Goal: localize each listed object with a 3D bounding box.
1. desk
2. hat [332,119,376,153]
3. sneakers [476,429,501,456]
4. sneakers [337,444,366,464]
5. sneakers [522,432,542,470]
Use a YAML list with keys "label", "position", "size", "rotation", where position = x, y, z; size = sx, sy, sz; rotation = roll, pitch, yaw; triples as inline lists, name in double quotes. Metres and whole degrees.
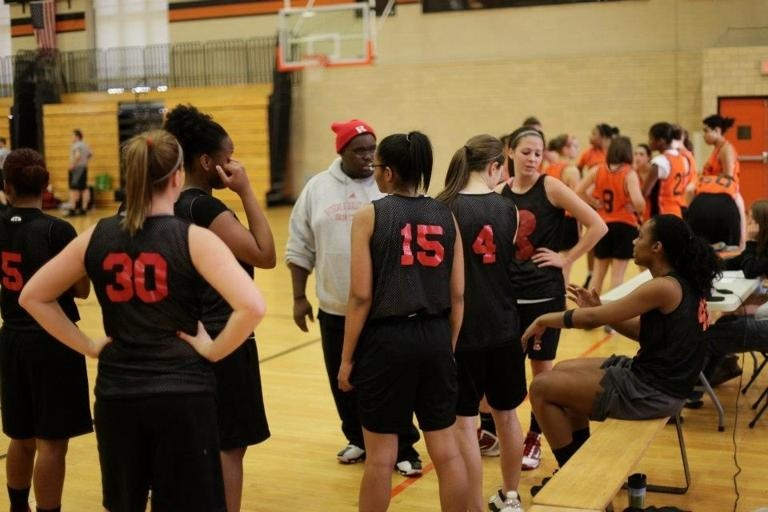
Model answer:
- label: "desk"
  position: [2.248, 0.279, 5.800]
  size: [1.083, 0.927, 1.990]
  rotation: [0, 11, 22]
- label: "hat"
  position: [-0.178, -0.748, 4.798]
  size: [0.237, 0.208, 0.231]
  rotation: [0, -5, 40]
- label: "sneakers"
  position: [0.732, 1.315, 5.399]
  size: [0.232, 0.149, 0.133]
  rotation: [5, 6, 29]
- label: "sneakers"
  position: [-0.217, 1.392, 5.378]
  size: [0.110, 0.091, 0.211]
  rotation: [-2, -11, 13]
- label: "sneakers"
  position: [1.018, 1.342, 5.298]
  size: [0.051, 0.064, 0.142]
  rotation: [6, 46, 48]
